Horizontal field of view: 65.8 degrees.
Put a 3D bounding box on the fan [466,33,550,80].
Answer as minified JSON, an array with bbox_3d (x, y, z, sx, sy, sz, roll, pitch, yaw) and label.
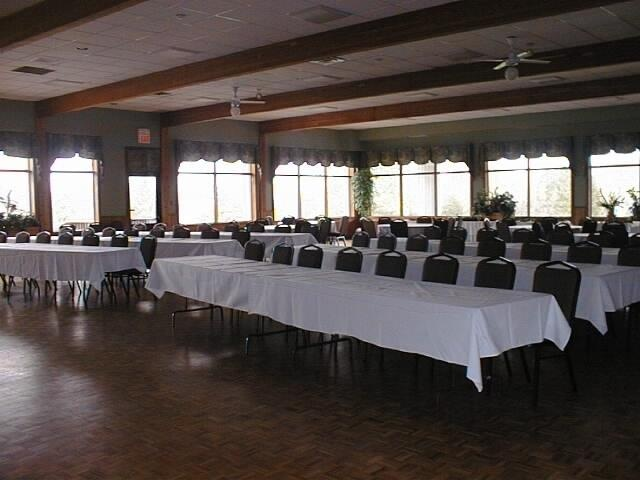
[{"bbox_3d":[3.061,-2.990,7.995,1.347,0.488,1.131,-1,7,4],"label":"fan"}]

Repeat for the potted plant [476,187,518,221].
[{"bbox_3d":[5.342,-0.964,15.288,1.652,0.839,1.297,0,0,6],"label":"potted plant"}]

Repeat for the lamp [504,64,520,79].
[{"bbox_3d":[2.614,-2.295,6.746,0.137,0.202,0.309,2,6,24],"label":"lamp"}]
